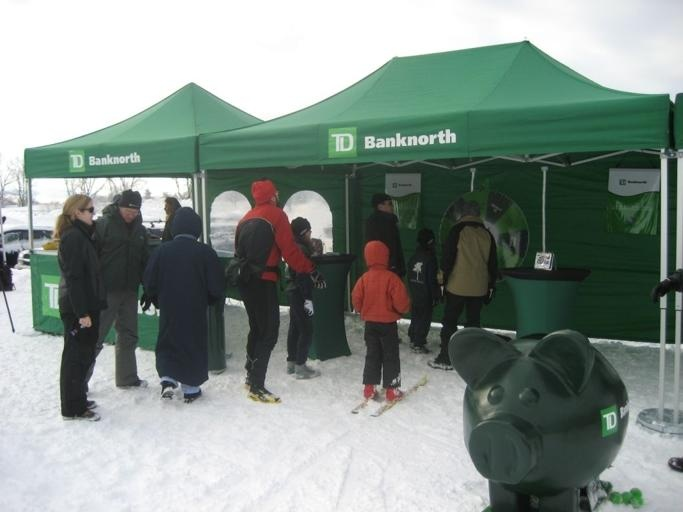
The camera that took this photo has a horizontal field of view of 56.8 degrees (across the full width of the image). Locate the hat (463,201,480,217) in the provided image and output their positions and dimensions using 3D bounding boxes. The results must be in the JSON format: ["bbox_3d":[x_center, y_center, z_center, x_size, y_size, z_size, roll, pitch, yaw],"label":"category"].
[{"bbox_3d":[1.468,-0.521,7.115,0.135,0.182,0.179,2,10,2],"label":"hat"}]

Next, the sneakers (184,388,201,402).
[{"bbox_3d":[-1.483,1.401,6.350,0.067,0.093,0.207,2,-4,21],"label":"sneakers"}]

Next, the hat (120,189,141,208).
[{"bbox_3d":[-2.180,-0.574,6.549,0.185,0.172,0.181,2,-1,30],"label":"hat"}]

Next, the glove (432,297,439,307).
[{"bbox_3d":[1.121,0.540,7.374,0.099,0.108,0.060,4,1,-11],"label":"glove"}]

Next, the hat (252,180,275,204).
[{"bbox_3d":[-0.800,-0.636,6.384,0.245,0.198,0.192,-19,-20,27],"label":"hat"}]

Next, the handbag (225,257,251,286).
[{"bbox_3d":[-1.012,0.166,6.157,0.240,0.264,0.109,9,3,44],"label":"handbag"}]

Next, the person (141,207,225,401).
[{"bbox_3d":[-1.528,0.412,6.237,0.773,1.702,0.373,-4,11,-19],"label":"person"}]

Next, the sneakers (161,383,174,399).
[{"bbox_3d":[-1.732,1.363,6.339,0.112,0.139,0.136,2,-8,-15],"label":"sneakers"}]

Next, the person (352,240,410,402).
[{"bbox_3d":[0.391,0.655,6.313,0.404,1.540,0.517,-8,13,-36],"label":"person"}]

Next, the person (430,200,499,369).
[{"bbox_3d":[1.409,0.344,7.205,0.730,1.894,0.425,2,10,11],"label":"person"}]

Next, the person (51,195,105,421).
[{"bbox_3d":[-2.419,0.485,5.861,0.448,2.047,0.447,-5,11,-25],"label":"person"}]

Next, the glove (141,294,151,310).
[{"bbox_3d":[-1.969,0.486,6.445,0.132,0.197,0.050,7,13,42],"label":"glove"}]

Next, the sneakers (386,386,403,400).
[{"bbox_3d":[0.532,1.355,6.302,0.175,0.166,0.175,1,11,4],"label":"sneakers"}]

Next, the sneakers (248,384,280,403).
[{"bbox_3d":[-0.782,1.394,6.429,0.354,0.268,0.135,-1,-1,12],"label":"sneakers"}]

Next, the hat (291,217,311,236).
[{"bbox_3d":[-0.466,-0.337,7.002,0.157,0.187,0.201,15,28,40],"label":"hat"}]

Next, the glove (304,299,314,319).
[{"bbox_3d":[-0.339,0.561,6.727,0.108,0.170,0.056,-2,-5,-3],"label":"glove"}]

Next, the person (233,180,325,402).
[{"bbox_3d":[-0.724,0.350,6.340,0.669,2.140,0.538,4,11,20],"label":"person"}]

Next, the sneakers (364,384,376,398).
[{"bbox_3d":[0.296,1.347,6.353,0.076,0.157,0.151,3,9,24],"label":"sneakers"}]

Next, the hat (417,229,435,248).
[{"bbox_3d":[1.027,-0.197,7.639,0.154,0.214,0.214,7,-3,1],"label":"hat"}]

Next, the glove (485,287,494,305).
[{"bbox_3d":[1.724,0.464,7.311,0.126,0.162,0.159,1,-5,-7],"label":"glove"}]
